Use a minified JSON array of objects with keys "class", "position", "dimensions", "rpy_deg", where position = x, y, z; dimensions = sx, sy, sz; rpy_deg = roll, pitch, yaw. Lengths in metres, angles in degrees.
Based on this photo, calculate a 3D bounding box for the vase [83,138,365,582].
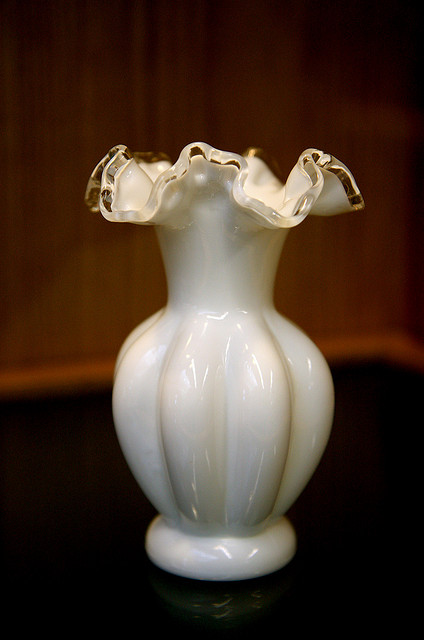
[{"class":"vase","position":[0.013,0.048,0.837],"dimensions":[0.317,0.524,0.281],"rpy_deg":[-1,5,-12]}]
